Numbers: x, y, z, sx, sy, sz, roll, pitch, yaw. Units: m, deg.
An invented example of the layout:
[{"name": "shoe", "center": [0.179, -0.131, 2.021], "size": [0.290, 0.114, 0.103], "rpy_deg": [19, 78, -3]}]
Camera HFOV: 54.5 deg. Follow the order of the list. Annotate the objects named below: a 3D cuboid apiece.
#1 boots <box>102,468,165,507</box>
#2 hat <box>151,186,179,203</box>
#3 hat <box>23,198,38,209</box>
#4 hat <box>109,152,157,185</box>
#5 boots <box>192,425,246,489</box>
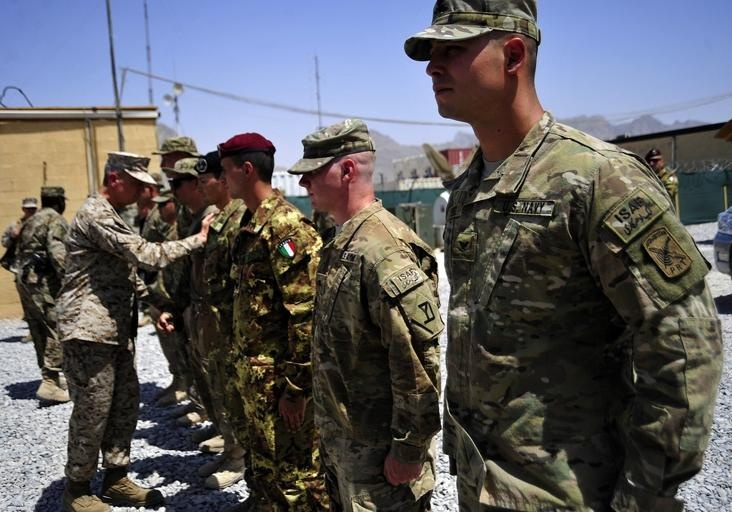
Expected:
[{"name": "boots", "center": [-2.008, 1.965, 6.193], "size": [0.630, 0.419, 0.248], "rpy_deg": [2, 1, -5]}, {"name": "hat", "center": [-2.309, -0.691, 8.147], "size": [0.171, 0.092, 0.255], "rpy_deg": [-2, 12, 41]}, {"name": "hat", "center": [-5.235, -0.815, 11.018], "size": [0.239, 0.125, 0.374], "rpy_deg": [-1, 9, -26]}, {"name": "hat", "center": [-2.036, -0.800, 6.175], "size": [0.370, 0.202, 0.322], "rpy_deg": [5, 14, -16]}, {"name": "boots", "center": [-1.310, 1.803, 6.350], "size": [0.404, 0.424, 0.348], "rpy_deg": [-9, 10, -17]}]
